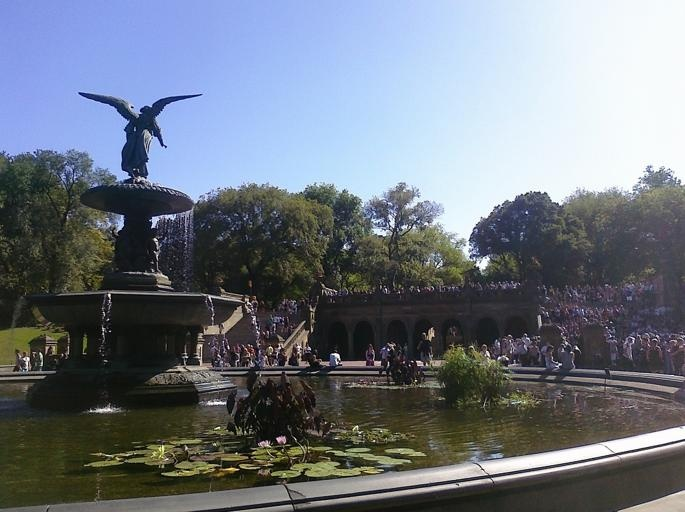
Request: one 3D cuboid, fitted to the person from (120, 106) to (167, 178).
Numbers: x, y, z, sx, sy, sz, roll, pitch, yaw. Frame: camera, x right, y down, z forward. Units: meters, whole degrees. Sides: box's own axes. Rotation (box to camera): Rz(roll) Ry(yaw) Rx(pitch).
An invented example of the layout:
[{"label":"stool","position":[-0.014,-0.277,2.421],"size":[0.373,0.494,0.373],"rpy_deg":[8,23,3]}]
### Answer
[{"label":"person","position":[-5.224,-2.951,15.159],"size":[1.005,2.013,0.675],"rpy_deg":[2,-29,-1]}]
